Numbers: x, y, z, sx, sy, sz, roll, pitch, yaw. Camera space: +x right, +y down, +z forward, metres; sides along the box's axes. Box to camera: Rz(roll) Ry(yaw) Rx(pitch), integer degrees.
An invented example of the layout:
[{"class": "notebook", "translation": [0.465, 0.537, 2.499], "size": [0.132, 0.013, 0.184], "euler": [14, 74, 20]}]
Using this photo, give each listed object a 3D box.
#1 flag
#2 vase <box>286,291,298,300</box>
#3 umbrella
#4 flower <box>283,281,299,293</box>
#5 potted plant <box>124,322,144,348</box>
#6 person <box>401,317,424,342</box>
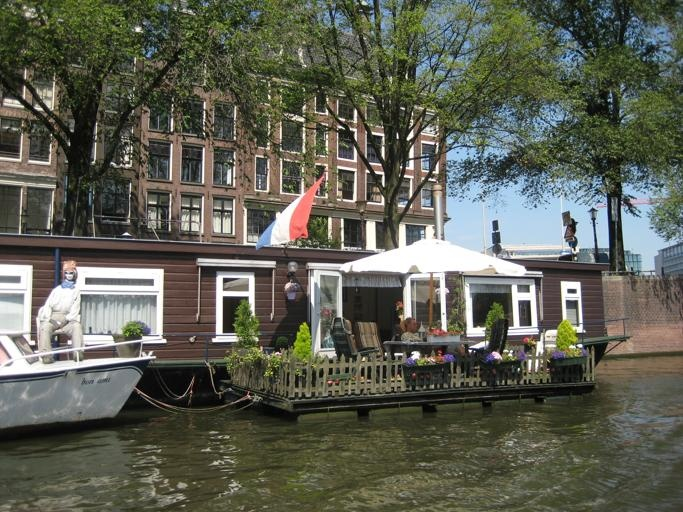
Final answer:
[{"class": "flag", "translation": [-1.375, -0.985, 19.083], "size": [1.442, 1.621, 1.236], "euler": [-1, 6, -3]}, {"class": "vase", "translation": [-1.320, 1.076, 19.613], "size": [0.192, 0.143, 0.199], "euler": [0, -1, 9]}, {"class": "umbrella", "translation": [2.322, 0.751, 18.753], "size": [4.129, 2.448, 3.821], "euler": [0, 6, 9]}, {"class": "flower", "translation": [-1.320, 0.844, 19.592], "size": [0.310, 0.252, 0.252], "euler": [-4, 9, -40]}, {"class": "potted plant", "translation": [-4.930, 1.866, 17.506], "size": [0.413, 0.442, 0.411], "euler": [-1, 2, -16]}, {"class": "person", "translation": [1.786, 1.758, 18.941], "size": [0.446, 0.616, 0.880], "euler": [-9, -2, -3]}]
